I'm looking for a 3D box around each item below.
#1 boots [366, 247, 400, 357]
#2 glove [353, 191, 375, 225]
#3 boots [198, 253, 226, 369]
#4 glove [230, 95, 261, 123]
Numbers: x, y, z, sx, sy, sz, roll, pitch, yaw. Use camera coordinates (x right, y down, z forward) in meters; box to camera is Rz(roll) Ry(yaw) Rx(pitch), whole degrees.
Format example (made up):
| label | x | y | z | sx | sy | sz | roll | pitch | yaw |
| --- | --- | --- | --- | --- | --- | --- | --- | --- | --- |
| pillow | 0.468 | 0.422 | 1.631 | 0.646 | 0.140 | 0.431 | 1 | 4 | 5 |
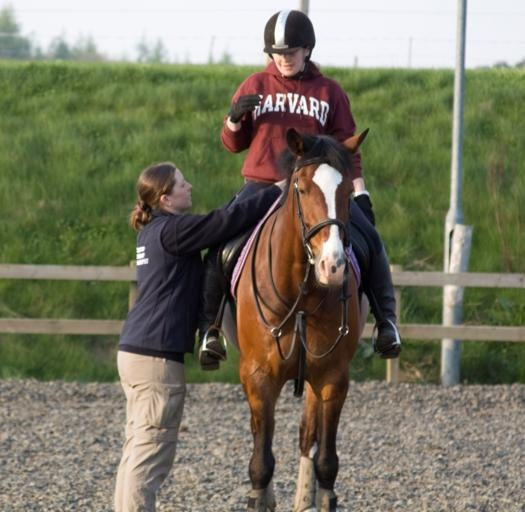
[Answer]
| label | x | y | z | sx | sy | sz | roll | pitch | yaw |
| --- | --- | --- | --- | --- | --- | --- | --- | --- | --- |
| boots | 1.351 | 0.533 | 19.662 | 0.343 | 1.229 | 0.561 | 0 | 6 | -31 |
| glove | 1.160 | -0.515 | 19.972 | 0.105 | 0.346 | 0.272 | -17 | -8 | 24 |
| boots | -0.548 | 0.596 | 19.541 | 0.291 | 1.588 | 0.311 | -11 | -28 | 13 |
| glove | -0.194 | -1.565 | 19.508 | 0.281 | 0.361 | 0.536 | 3 | 8 | -16 |
